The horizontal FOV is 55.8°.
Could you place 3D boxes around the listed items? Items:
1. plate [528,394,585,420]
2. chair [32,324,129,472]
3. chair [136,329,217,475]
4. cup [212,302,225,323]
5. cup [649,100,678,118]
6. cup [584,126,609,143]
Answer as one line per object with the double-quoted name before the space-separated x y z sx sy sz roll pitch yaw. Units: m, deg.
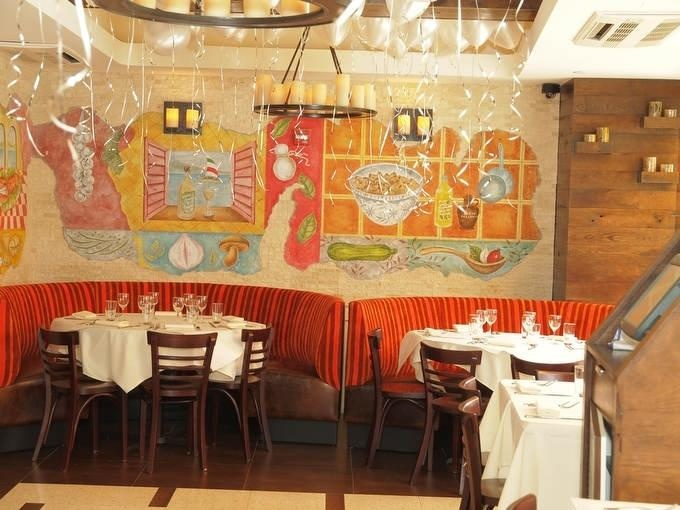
"plate" 1.280 0.888 3.815 0.306 0.048 0.496 5 7 20
"chair" -2.185 1.110 5.271 0.632 1.102 0.889 -4 9 -44
"chair" -1.356 1.119 5.332 0.588 1.154 0.899 0 7 -17
"cup" -1.105 0.526 5.869 0.139 0.250 0.153 0 0 -8
"cup" 3.226 -1.453 6.440 0.276 0.194 0.162 0 2 10
"cup" 2.563 -1.199 6.405 0.231 0.172 0.137 2 1 17
